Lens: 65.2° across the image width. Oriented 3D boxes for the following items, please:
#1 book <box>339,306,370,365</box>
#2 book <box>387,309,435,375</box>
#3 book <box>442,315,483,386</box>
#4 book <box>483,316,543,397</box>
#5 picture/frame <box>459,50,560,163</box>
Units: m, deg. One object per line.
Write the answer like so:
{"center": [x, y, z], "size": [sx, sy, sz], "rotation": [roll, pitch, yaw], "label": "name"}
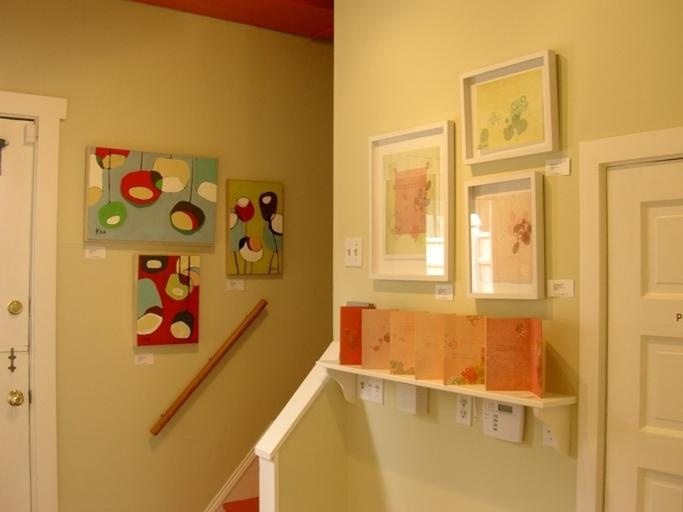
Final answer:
{"center": [0.033, 0.326, 2.343], "size": [0.175, 0.185, 0.097], "rotation": [-2, -11, -17], "label": "book"}
{"center": [0.279, 0.353, 2.210], "size": [0.208, 0.276, 0.252], "rotation": [6, -14, -15], "label": "book"}
{"center": [0.456, 0.340, 1.971], "size": [0.148, 0.271, 0.032], "rotation": [-2, 10, 2], "label": "book"}
{"center": [0.623, 0.351, 1.894], "size": [0.218, 0.253, 0.194], "rotation": [-6, -16, 21], "label": "book"}
{"center": [0.636, -0.552, 1.985], "size": [0.069, 0.425, 0.420], "rotation": [3, -6, -38], "label": "picture/frame"}
